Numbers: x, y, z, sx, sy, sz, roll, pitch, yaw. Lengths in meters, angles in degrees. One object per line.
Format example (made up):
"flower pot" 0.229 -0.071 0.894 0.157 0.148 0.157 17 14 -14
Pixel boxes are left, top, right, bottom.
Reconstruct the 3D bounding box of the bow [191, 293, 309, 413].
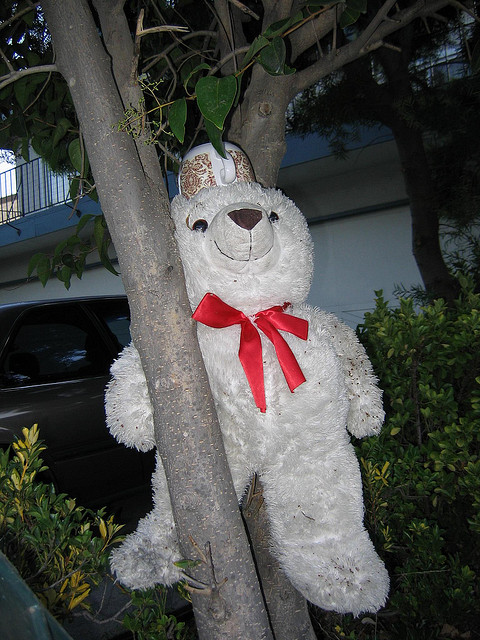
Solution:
"bow" 0.020 0.093 1.388 0.342 0.332 0.060 4 -38 -24

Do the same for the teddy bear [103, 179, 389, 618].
"teddy bear" 0.029 0.175 1.477 0.888 1.044 0.635 -4 6 -17

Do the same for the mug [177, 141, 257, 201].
"mug" -0.062 -0.387 1.529 0.191 0.153 0.228 -4 -16 -8
